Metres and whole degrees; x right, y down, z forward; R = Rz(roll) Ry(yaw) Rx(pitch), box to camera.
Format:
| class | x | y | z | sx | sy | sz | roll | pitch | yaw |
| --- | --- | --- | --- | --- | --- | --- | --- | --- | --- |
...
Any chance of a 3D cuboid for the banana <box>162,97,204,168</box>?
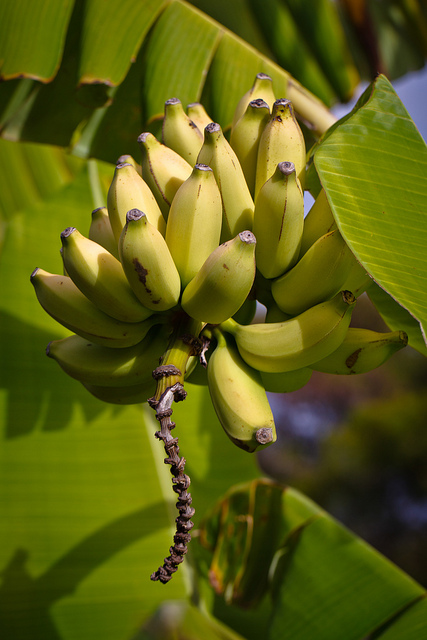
| class | x | y | z | sx | sy | sz | roll | pitch | yaw |
| --- | --- | --- | --- | --- | --- | --- | --- | --- | --- |
| banana | -0.069 | -0.435 | 1.565 | 0.075 | 0.228 | 0.078 | -17 | 56 | -5 |

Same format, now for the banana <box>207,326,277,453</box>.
| class | x | y | z | sx | sy | sz | roll | pitch | yaw |
| --- | --- | --- | --- | --- | --- | --- | --- | --- | --- |
| banana | 0.055 | 0.155 | 1.342 | 0.106 | 0.096 | 0.285 | 42 | 18 | -51 |

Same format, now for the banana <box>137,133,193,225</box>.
| class | x | y | z | sx | sy | sz | roll | pitch | yaw |
| --- | --- | --- | --- | --- | --- | --- | --- | --- | --- |
| banana | -0.113 | -0.340 | 1.497 | 0.087 | 0.254 | 0.093 | -8 | 0 | 10 |

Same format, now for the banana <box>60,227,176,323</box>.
| class | x | y | z | sx | sy | sz | roll | pitch | yaw |
| --- | --- | --- | --- | --- | --- | --- | --- | --- | --- |
| banana | -0.192 | -0.084 | 1.297 | 0.225 | 0.078 | 0.066 | 39 | 28 | -16 |

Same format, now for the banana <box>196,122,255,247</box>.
| class | x | y | z | sx | sy | sz | roll | pitch | yaw |
| --- | --- | --- | --- | --- | --- | --- | --- | --- | --- |
| banana | 0.060 | -0.278 | 1.470 | 0.094 | 0.323 | 0.105 | -11 | 23 | 10 |

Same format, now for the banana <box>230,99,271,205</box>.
| class | x | y | z | sx | sy | sz | roll | pitch | yaw |
| --- | --- | --- | --- | --- | --- | --- | --- | --- | --- |
| banana | 0.089 | -0.416 | 1.544 | 0.097 | 0.262 | 0.075 | -5 | -9 | 21 |

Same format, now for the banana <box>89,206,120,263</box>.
| class | x | y | z | sx | sy | sz | roll | pitch | yaw |
| --- | --- | --- | --- | --- | --- | --- | --- | --- | --- |
| banana | -0.260 | -0.211 | 1.559 | 0.051 | 0.061 | 0.171 | 19 | 36 | -46 |

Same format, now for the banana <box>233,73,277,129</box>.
| class | x | y | z | sx | sy | sz | roll | pitch | yaw |
| --- | --- | --- | --- | --- | --- | --- | --- | --- | --- |
| banana | 0.101 | -0.563 | 1.598 | 0.073 | 0.198 | 0.062 | 12 | 1 | 30 |

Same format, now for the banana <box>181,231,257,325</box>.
| class | x | y | z | sx | sy | sz | roll | pitch | yaw |
| --- | --- | --- | --- | --- | --- | --- | --- | --- | --- |
| banana | 0.005 | -0.089 | 1.276 | 0.101 | 0.188 | 0.096 | -5 | 66 | -22 |

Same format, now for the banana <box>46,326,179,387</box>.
| class | x | y | z | sx | sy | sz | roll | pitch | yaw |
| --- | --- | --- | --- | --- | --- | --- | --- | --- | --- |
| banana | -0.233 | 0.074 | 1.460 | 0.281 | 0.095 | 0.172 | -7 | 59 | -25 |

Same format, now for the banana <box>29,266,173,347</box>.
| class | x | y | z | sx | sy | sz | roll | pitch | yaw |
| --- | --- | --- | --- | --- | --- | --- | --- | --- | --- |
| banana | -0.250 | -0.014 | 1.390 | 0.356 | 0.117 | 0.095 | 17 | 1 | 17 |

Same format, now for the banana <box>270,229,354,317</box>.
| class | x | y | z | sx | sy | sz | roll | pitch | yaw |
| --- | --- | --- | --- | --- | --- | --- | --- | --- | --- |
| banana | 0.212 | -0.101 | 1.347 | 0.059 | 0.170 | 0.111 | 32 | 23 | -20 |
